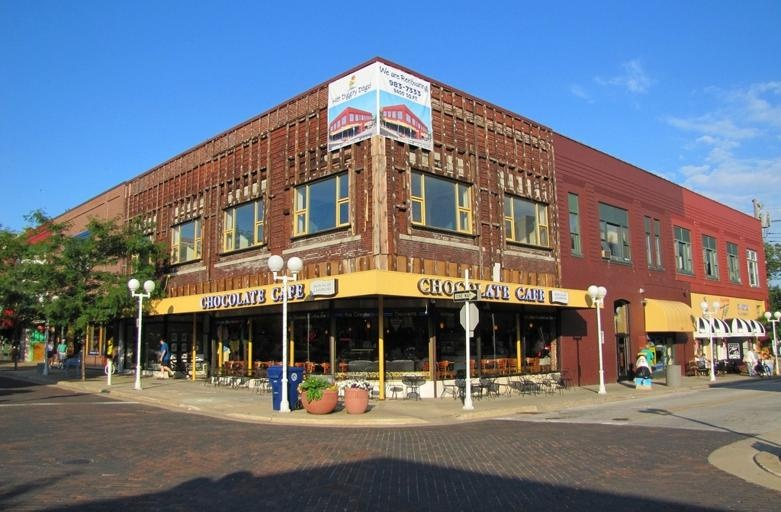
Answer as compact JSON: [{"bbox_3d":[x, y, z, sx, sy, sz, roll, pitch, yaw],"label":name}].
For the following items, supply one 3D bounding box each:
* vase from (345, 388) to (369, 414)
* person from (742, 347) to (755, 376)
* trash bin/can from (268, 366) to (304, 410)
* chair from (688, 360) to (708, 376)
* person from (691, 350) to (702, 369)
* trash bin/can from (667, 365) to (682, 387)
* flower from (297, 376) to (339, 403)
[{"bbox_3d":[-1.273,5.465,23.578,0.862,0.718,0.888,0,-12,-3],"label":"vase"},{"bbox_3d":[23.586,6.989,40.943,0.517,1.657,0.926,-4,-14,13],"label":"person"},{"bbox_3d":[-4.123,5.229,24.393,1.606,2.139,1.502,1,-15,-6],"label":"trash bin/can"},{"bbox_3d":[19.995,7.346,40.818,1.223,1.254,0.849,-3,-5,5],"label":"chair"},{"bbox_3d":[20.432,6.881,41.734,0.914,1.614,0.954,-3,-9,26],"label":"person"},{"bbox_3d":[15.325,6.449,33.729,0.990,1.183,1.017,-5,-7,36],"label":"trash bin/can"},{"bbox_3d":[-2.922,4.958,23.651,0.962,0.586,0.949,2,-1,-21],"label":"flower"}]
